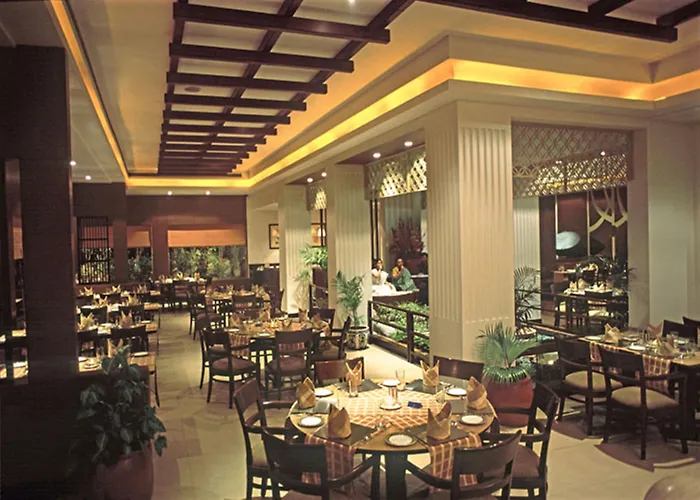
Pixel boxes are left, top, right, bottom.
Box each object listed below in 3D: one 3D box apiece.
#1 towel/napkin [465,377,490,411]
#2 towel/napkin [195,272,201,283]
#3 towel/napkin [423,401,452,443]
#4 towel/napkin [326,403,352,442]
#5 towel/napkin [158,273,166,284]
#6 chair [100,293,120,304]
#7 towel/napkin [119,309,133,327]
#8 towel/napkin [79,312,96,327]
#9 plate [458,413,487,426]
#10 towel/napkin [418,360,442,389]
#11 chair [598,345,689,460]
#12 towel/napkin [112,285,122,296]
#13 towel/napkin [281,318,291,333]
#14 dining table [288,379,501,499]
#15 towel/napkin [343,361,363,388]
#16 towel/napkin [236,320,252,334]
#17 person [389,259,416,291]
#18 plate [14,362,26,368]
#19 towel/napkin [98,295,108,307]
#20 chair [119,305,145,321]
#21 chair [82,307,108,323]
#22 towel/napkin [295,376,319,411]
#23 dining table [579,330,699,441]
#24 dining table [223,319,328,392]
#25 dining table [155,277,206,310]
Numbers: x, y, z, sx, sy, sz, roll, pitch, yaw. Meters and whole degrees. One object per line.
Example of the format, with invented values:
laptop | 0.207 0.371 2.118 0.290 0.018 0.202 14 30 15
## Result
towel/napkin | 1.193 1.394 4.946 0.207 0.236 0.268 0 -4 -8
towel/napkin | -4.587 0.824 15.344 0.253 0.233 0.440 -1 9 -12
towel/napkin | 0.801 1.527 4.538 0.273 0.308 0.209 -8 -36 28
towel/napkin | -0.094 1.519 4.602 0.228 0.274 0.277 6 -16 -7
towel/napkin | -5.534 0.844 14.902 0.269 0.331 0.256 0 3 -20
chair | -5.011 1.008 10.699 0.334 0.215 0.321 -1 4 -29
towel/napkin | -3.743 1.118 8.540 0.256 0.318 0.327 1 -6 -13
towel/napkin | -4.305 1.137 8.401 0.204 0.254 0.265 1 -8 -8
plate | 1.108 1.550 4.696 0.214 0.065 0.178 -1 -4 12
towel/napkin | 0.852 1.336 5.532 0.261 0.247 0.241 -3 -5 10
chair | 3.449 1.710 6.047 0.834 1.172 1.045 -3 -4 32
towel/napkin | -5.373 0.919 11.791 0.124 0.152 0.159 -1 -7 -11
towel/napkin | -0.992 1.158 7.902 0.134 0.169 0.131 -3 10 2
dining table | 0.517 1.781 4.962 1.397 0.817 1.337 0 0 0
towel/napkin | 0.008 1.302 5.414 0.177 0.220 0.223 0 -10 -1
towel/napkin | -1.571 1.162 7.771 0.219 0.190 0.170 -1 1 -34
person | 1.238 0.563 11.995 0.658 0.757 0.783 0 -2 -16
plate | -3.223 1.120 5.024 0.119 0.027 0.119 0 -1 31
towel/napkin | -5.023 1.032 10.422 0.153 0.183 0.103 3 -9 -38
chair | -4.008 1.133 9.384 0.349 0.408 0.369 1 1 -41
chair | -4.711 1.169 9.426 0.446 0.416 0.502 2 2 -23
towel/napkin | -0.437 1.407 5.151 0.253 0.381 0.296 -2 -3 14
dining table | 3.338 1.571 6.417 1.176 1.490 1.143 -4 2 -28
dining table | -1.082 1.591 7.578 1.292 1.147 1.094 -1 5 -18
dining table | -4.742 1.183 14.162 1.475 0.878 1.406 0 3 -12
